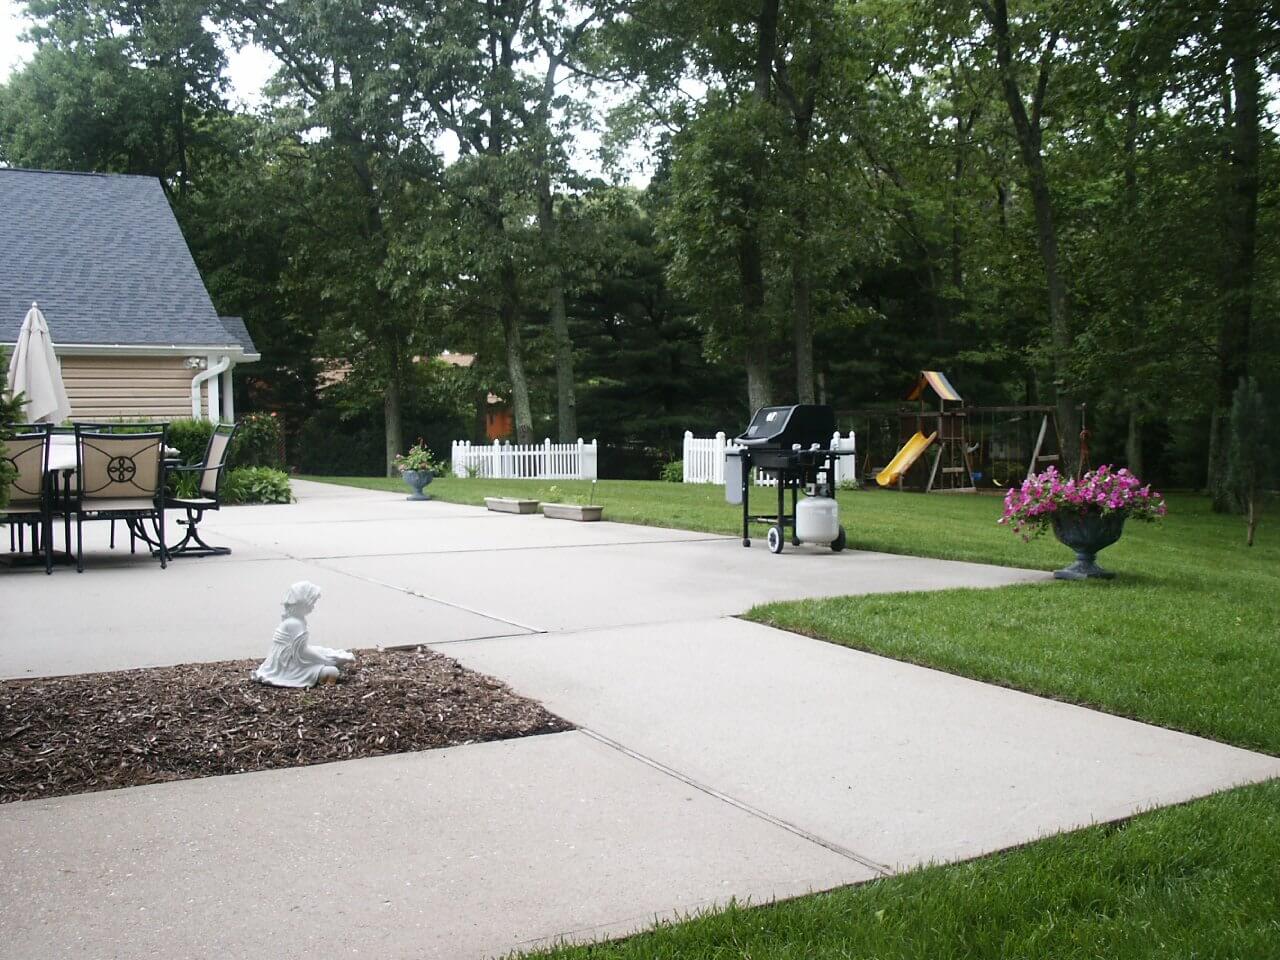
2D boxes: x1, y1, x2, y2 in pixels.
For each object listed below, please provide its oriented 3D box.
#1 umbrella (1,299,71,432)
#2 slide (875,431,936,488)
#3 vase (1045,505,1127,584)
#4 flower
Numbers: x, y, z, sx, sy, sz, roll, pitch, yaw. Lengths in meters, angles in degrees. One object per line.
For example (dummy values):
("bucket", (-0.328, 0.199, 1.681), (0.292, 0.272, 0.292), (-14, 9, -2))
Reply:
("umbrella", (-6.744, -1.215, 15.378), (0.549, 1.394, 1.358), (-4, 12, -24))
("slide", (6.076, -0.406, 31.299), (0.407, 1.424, 0.339), (30, -5, 38))
("vase", (4.221, 0.619, 12.989), (0.645, 0.518, 0.666), (0, -2, 26))
("flower", (4.230, 0.187, 12.901), (0.982, 0.576, 0.985), (2, 1, -33))
